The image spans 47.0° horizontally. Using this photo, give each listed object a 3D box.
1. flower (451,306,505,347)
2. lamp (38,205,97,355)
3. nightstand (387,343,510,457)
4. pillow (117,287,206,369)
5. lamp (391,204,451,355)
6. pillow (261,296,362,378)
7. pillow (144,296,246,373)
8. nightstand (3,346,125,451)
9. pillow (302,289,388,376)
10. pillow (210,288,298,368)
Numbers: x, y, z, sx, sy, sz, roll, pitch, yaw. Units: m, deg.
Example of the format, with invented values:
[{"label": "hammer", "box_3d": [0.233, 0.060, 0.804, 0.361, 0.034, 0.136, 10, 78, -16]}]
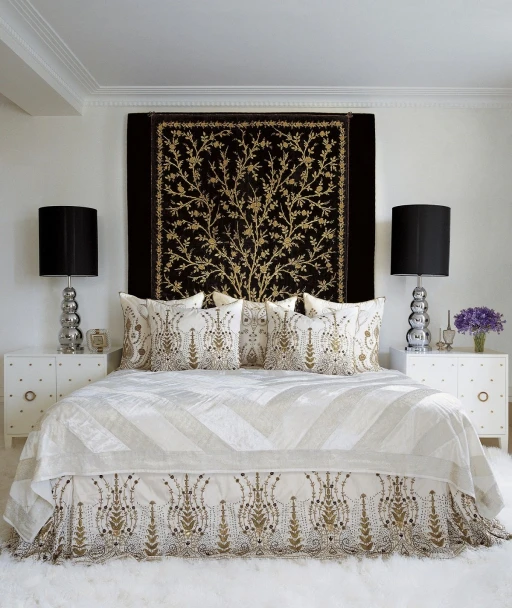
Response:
[{"label": "flower", "box_3d": [1.484, 0.171, 3.953, 0.280, 0.292, 0.210, 1, 1, 22]}, {"label": "lamp", "box_3d": [-1.285, -0.173, 4.057, 0.393, 1.002, 0.349, 0, 1, -16]}, {"label": "nightstand", "box_3d": [1.212, 0.625, 3.969, 0.816, 0.757, 0.576, 0, -5, 0]}, {"label": "pillow", "box_3d": [-0.612, 0.216, 3.869, 0.567, 0.551, 0.193, 6, 17, -1]}, {"label": "lamp", "box_3d": [1.108, -0.173, 4.015, 0.390, 0.982, 0.272, 1, 1, 15]}, {"label": "pillow", "box_3d": [0.326, 0.203, 3.559, 0.564, 0.416, 0.192, 3, 1, 10]}, {"label": "pillow", "box_3d": [-0.370, 0.215, 3.627, 0.581, 0.422, 0.193, 0, 4, 5]}, {"label": "nightstand", "box_3d": [-1.207, 0.508, 4.115, 0.932, 0.850, 0.548, -1, -4, -2]}, {"label": "pillow", "box_3d": [0.525, 0.174, 3.643, 0.554, 0.530, 0.198, 1, -12, 3]}, {"label": "pillow", "box_3d": [-0.006, 0.201, 3.906, 0.503, 0.491, 0.193, 3, 5, 4]}]
